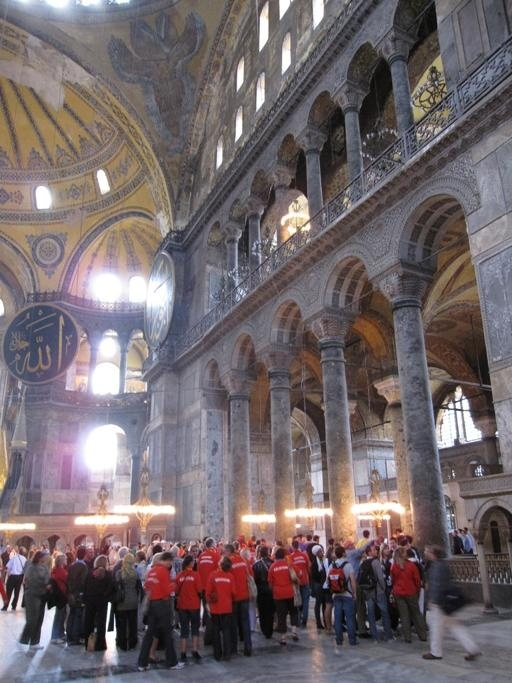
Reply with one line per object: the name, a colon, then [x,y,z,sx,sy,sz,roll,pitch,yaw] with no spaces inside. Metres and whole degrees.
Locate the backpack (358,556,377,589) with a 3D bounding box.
backpack: [1.105,2.289,4.694,0.131,0.236,0.172,32,-45,-18]

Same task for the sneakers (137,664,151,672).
sneakers: [-0.911,2.687,3.911,0.113,0.054,0.044,1,-8,-9]

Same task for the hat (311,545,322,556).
hat: [0.843,2.871,6.602,0.117,0.132,0.135,21,-23,-7]

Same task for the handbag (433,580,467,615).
handbag: [1.387,1.828,3.371,0.205,0.198,0.221,-9,-22,17]
